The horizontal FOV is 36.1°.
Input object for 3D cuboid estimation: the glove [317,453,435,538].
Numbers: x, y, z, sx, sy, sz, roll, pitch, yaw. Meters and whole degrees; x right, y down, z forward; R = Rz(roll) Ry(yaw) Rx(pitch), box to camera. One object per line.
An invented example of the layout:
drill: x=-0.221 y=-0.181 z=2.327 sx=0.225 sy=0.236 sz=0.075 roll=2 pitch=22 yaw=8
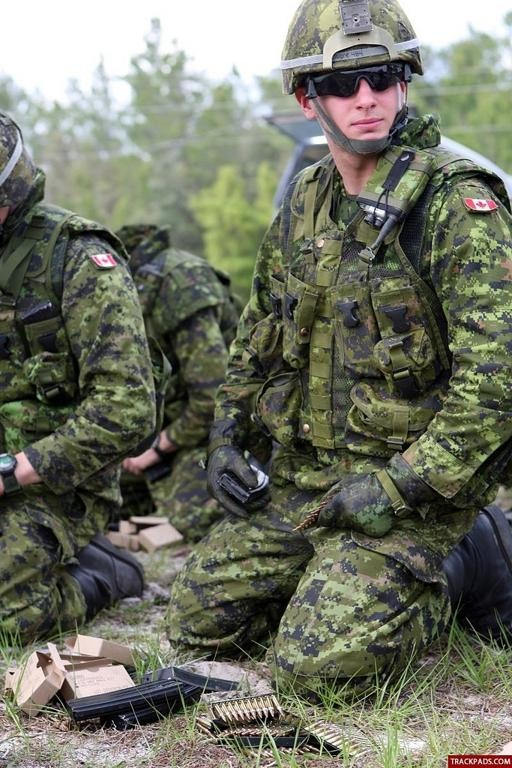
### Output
glove: x=0.381 y=0.348 z=2.347 sx=0.352 sy=0.200 sz=0.133 roll=-25 pitch=-35 yaw=2
